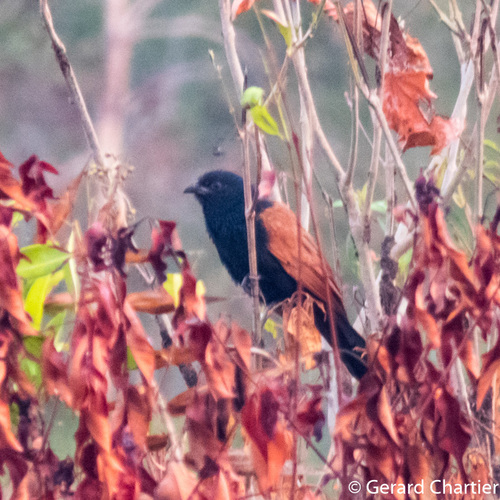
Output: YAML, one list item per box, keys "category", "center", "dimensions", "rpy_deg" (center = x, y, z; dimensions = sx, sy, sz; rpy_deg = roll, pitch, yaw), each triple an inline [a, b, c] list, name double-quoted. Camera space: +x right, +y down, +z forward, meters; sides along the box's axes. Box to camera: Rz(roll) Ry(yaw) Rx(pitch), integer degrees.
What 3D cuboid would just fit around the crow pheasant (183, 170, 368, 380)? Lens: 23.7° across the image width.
- category: "crow pheasant"
  center: [0.031, 0.018, 1.102]
  dimensions: [0.068, 0.196, 0.156]
  rpy_deg: [-35, 29, -33]
